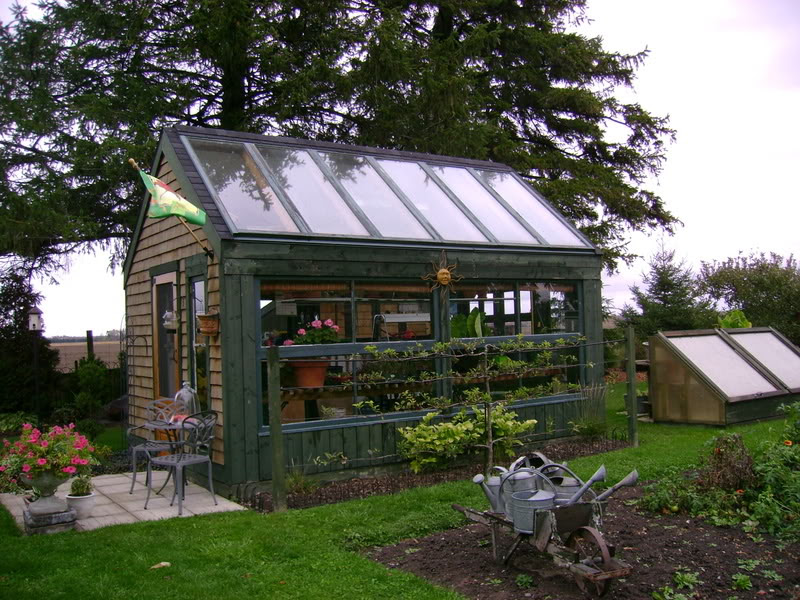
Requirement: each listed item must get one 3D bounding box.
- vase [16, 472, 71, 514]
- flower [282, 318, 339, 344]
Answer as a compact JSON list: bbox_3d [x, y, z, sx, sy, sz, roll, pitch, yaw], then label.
[{"bbox_3d":[-4.419,2.405,8.885,0.675,0.516,0.676,0,-10,19],"label":"vase"},{"bbox_3d":[-1.273,0.468,10.397,0.807,0.360,0.096,-4,5,-31],"label":"flower"}]
